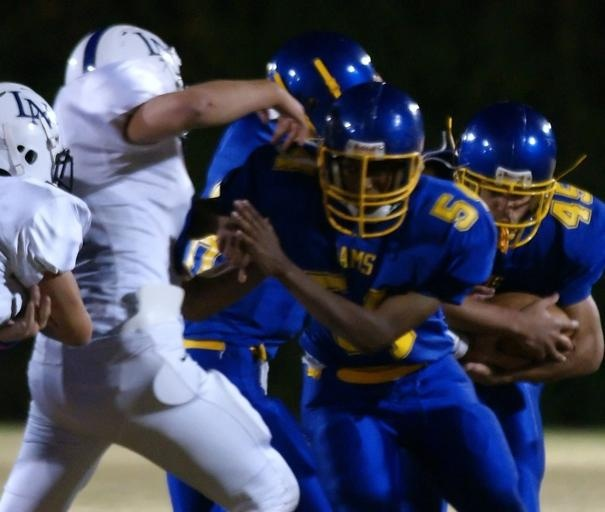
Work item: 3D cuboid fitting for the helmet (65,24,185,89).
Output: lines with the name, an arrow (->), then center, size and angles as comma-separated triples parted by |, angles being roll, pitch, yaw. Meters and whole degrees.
helmet -> -0.375, -0.435, 2.160 | 0.196, 0.134, 0.177 | -24, 42, -28

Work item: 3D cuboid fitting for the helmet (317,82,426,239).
helmet -> 0.143, -0.214, 2.168 | 0.259, 0.310, 0.314 | 3, 33, 5

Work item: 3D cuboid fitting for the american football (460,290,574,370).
american football -> 0.525, 0.197, 2.499 | 0.418, 0.210, 0.209 | -1, -12, 13
